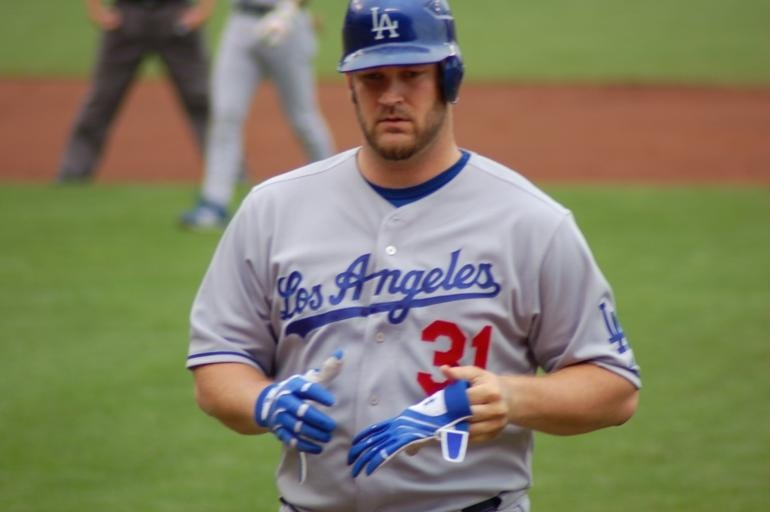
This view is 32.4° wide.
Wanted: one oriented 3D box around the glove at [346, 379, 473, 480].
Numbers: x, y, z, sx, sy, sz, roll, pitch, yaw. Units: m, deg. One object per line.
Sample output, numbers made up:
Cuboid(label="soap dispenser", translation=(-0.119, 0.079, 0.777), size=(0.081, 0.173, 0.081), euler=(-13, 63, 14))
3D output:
Cuboid(label="glove", translation=(0.111, 0.683, 5.204), size=(0.416, 0.149, 0.396), euler=(-26, 17, 0))

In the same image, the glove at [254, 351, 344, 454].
Cuboid(label="glove", translation=(-0.331, 0.581, 5.283), size=(0.192, 0.327, 0.271), euler=(20, 44, -35))
